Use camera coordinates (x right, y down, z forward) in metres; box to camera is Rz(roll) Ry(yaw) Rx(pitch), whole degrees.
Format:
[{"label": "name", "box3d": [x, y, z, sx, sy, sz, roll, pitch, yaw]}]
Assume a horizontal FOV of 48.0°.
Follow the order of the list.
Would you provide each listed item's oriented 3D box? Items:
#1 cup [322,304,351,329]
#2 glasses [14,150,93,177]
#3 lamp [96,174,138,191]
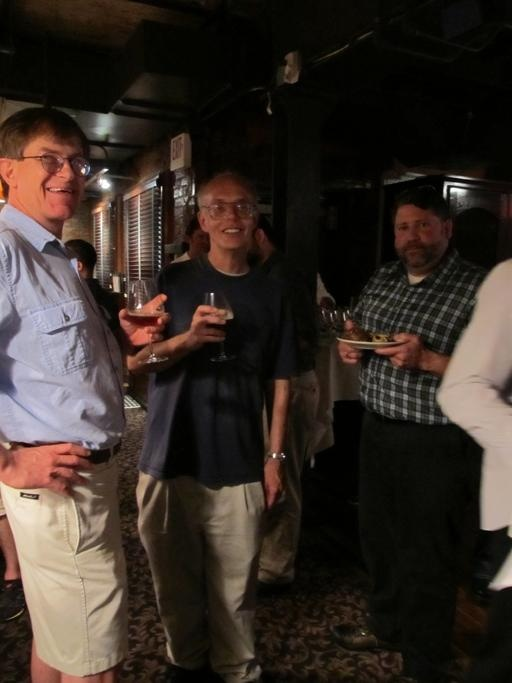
[{"label": "cup", "box3d": [0.475, -0.143, 3.420, 0.174, 0.125, 0.176, 0, -1, 0]}, {"label": "glasses", "box3d": [-0.481, -0.415, 1.337, 0.099, 0.026, 0.096, 8, 10, 42]}, {"label": "lamp", "box3d": [-1.643, -1.906, 6.833, 0.194, 0.226, 0.877, -5, 11, -41]}]
